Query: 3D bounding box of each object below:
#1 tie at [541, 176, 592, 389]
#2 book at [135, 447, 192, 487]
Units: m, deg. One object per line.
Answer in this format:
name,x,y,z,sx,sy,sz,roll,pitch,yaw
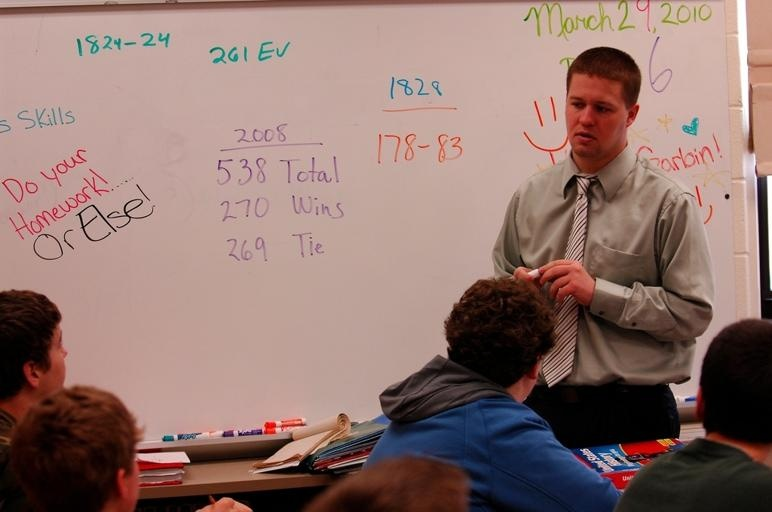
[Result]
tie,0.667,0.135,2.160,0.141,0.947,0.050,10,-2,19
book,-0.810,0.756,2.195,0.183,0.050,0.181,1,4,-10
